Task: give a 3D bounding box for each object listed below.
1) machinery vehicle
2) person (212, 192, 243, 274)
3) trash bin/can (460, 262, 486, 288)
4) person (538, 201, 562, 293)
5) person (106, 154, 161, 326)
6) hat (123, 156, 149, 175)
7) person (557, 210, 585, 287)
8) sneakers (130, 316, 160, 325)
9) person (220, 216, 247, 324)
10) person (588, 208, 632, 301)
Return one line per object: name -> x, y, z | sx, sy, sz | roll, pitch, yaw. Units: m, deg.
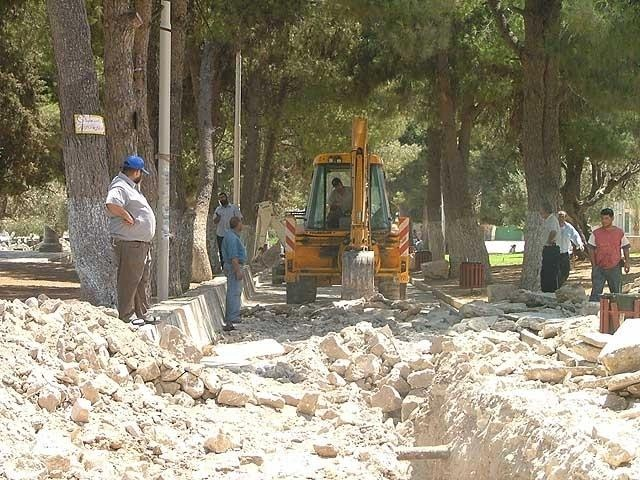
machinery vehicle -> 0.571, -0.372, 21.273 | 2.346, 3.399, 4.186 | 0, 5, 1
person -> -2.367, -0.168, 23.579 | 0.625, 2.152, 0.568 | -4, 19, -2
trash bin/can -> 3.626, 0.852, 22.245 | 0.474, 0.887, 0.545 | 1, 4, 12
person -> 5.016, 0.171, 20.193 | 0.393, 1.926, 1.025 | 0, 1, 15
person -> -2.979, -0.022, 14.329 | 0.952, 2.626, 0.681 | -1, 1, -40
hat -> -2.886, -1.185, 14.446 | 0.265, 0.263, 0.415 | 12, 4, 41
person -> 6.003, 0.194, 22.228 | 0.517, 1.805, 4.293 | 0, 0, 16
sneakers -> -2.729, 1.254, 14.268 | 0.378, 0.196, 0.159 | -4, 6, -10
person -> -1.733, 0.632, 18.306 | 0.450, 2.210, 0.906 | -1, 1, -7
person -> 5.448, 0.286, 17.486 | 0.731, 1.755, 0.824 | 0, 1, 16
